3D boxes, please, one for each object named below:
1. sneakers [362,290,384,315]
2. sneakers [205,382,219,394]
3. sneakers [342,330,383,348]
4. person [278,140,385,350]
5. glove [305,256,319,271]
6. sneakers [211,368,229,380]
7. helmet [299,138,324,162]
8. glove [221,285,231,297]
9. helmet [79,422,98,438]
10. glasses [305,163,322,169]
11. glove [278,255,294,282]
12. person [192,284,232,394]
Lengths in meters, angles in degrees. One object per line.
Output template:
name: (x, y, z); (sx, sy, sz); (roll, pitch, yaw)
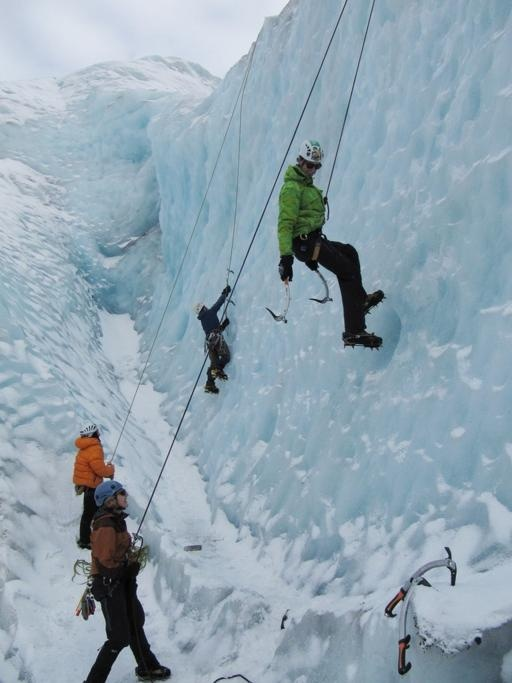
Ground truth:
sneakers: (0.748, -0.247, 5.704); (0.091, 0.079, 0.189); (11, -29, -12)
sneakers: (-0.396, 0.451, 8.163); (0.143, 0.123, 0.061); (1, 0, -2)
sneakers: (0.676, 0.001, 5.683); (0.248, 0.133, 0.107); (0, -4, 15)
person: (0.469, -0.559, 5.585); (0.676, 1.321, 0.476); (3, 16, 2)
glove: (0.362, -0.478, 5.662); (0.079, 0.068, 0.067); (29, -28, -37)
sneakers: (-0.318, 0.315, 8.026); (0.096, 0.072, 0.192); (-19, 33, -34)
helmet: (0.344, -1.181, 5.548); (0.106, 0.156, 0.144); (-11, 14, -38)
glove: (-0.274, -0.458, 8.458); (0.044, 0.058, 0.139); (5, 57, 26)
helmet: (-1.089, 0.603, 5.891); (0.098, 0.101, 0.078); (-32, 44, -22)
glasses: (0.364, -1.084, 5.502); (0.107, 0.048, 0.077); (-9, 21, -32)
glove: (0.189, -0.438, 5.452); (0.083, 0.157, 0.061); (2, 10, 7)
person: (-0.397, 0.018, 8.455); (0.364, 0.454, 0.970); (-1, 40, -16)
